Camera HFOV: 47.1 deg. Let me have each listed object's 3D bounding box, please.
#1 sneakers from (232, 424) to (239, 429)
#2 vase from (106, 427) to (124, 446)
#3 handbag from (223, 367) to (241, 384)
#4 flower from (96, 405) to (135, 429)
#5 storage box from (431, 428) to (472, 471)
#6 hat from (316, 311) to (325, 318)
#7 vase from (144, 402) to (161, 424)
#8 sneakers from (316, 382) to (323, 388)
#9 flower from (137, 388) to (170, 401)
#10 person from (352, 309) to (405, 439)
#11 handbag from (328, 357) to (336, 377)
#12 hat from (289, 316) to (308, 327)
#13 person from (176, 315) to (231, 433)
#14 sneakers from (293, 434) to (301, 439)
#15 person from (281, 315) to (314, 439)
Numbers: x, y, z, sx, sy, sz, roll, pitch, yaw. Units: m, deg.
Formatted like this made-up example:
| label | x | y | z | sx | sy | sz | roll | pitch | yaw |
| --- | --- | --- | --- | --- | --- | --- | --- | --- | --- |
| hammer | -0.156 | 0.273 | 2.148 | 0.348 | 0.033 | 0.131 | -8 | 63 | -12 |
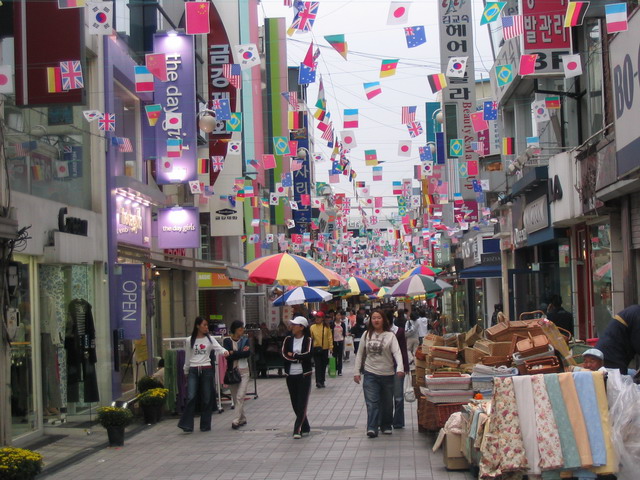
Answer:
| label | x | y | z | sx | sy | sz | roll | pitch | yaw |
| --- | --- | --- | --- | --- | --- | --- | --- | --- | --- |
| sneakers | -1.737 | 3.853 | 15.158 | 0.101 | 0.061 | 0.155 | 0 | -9 | -1 |
| vase | -3.853 | 3.722 | 13.879 | 0.294 | 0.325 | 0.347 | -1 | -13 | -2 |
| handbag | -1.845 | 2.965 | 15.930 | 0.466 | 0.536 | 0.273 | 1 | -9 | -4 |
| flower | -3.835 | 3.296 | 13.725 | 0.445 | 0.391 | 0.417 | 2 | -10 | 1 |
| storage box | 1.972 | 3.092 | 10.847 | 0.419 | 0.651 | 0.853 | 0 | -4 | 1 |
| hat | 0.007 | 2.395 | 23.584 | 0.299 | 0.183 | 0.516 | 7 | -9 | 11 |
| vase | -3.718 | 3.842 | 16.283 | 0.368 | 0.426 | 0.402 | 2 | -8 | -17 |
| sneakers | 0.021 | 4.431 | 22.273 | 0.110 | 0.173 | 0.356 | -6 | -8 | 27 |
| flower | -3.677 | 3.428 | 16.264 | 0.594 | 0.245 | 0.360 | -1 | -8 | -19 |
| person | 1.111 | 2.458 | 13.568 | 0.925 | 2.297 | 0.744 | -4 | -7 | 15 |
| handbag | 0.438 | 4.557 | 26.276 | 0.240 | 0.791 | 0.752 | 0 | -2 | 1 |
| hat | -0.381 | 1.592 | 14.316 | 0.247 | 0.143 | 0.185 | 12 | -9 | -12 |
| person | -2.449 | 2.794 | 15.284 | 0.931 | 2.338 | 0.761 | -1 | -7 | -11 |
| sneakers | -0.410 | 3.649 | 13.603 | 0.147 | 0.090 | 0.201 | -3 | -8 | 0 |
| person | -0.418 | 2.619 | 14.213 | 0.581 | 2.287 | 1.154 | -2 | -7 | -2 |
